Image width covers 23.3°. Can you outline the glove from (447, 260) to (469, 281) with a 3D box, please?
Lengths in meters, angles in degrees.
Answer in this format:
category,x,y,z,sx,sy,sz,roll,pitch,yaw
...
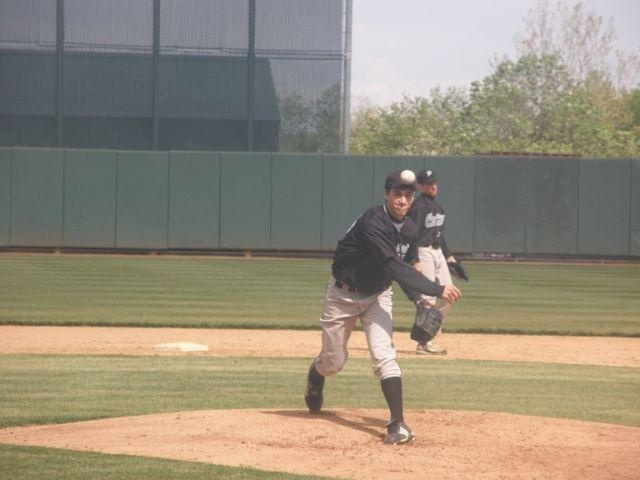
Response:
category,x,y,z,sx,sy,sz,roll,pitch,yaw
glove,4.196,0.911,47.662,0.211,0.615,0.267,-31,-3,-11

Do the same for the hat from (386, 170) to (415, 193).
category,x,y,z,sx,sy,sz,roll,pitch,yaw
hat,2.116,-1.558,41.185,0.479,0.355,0.676,5,-11,-33
